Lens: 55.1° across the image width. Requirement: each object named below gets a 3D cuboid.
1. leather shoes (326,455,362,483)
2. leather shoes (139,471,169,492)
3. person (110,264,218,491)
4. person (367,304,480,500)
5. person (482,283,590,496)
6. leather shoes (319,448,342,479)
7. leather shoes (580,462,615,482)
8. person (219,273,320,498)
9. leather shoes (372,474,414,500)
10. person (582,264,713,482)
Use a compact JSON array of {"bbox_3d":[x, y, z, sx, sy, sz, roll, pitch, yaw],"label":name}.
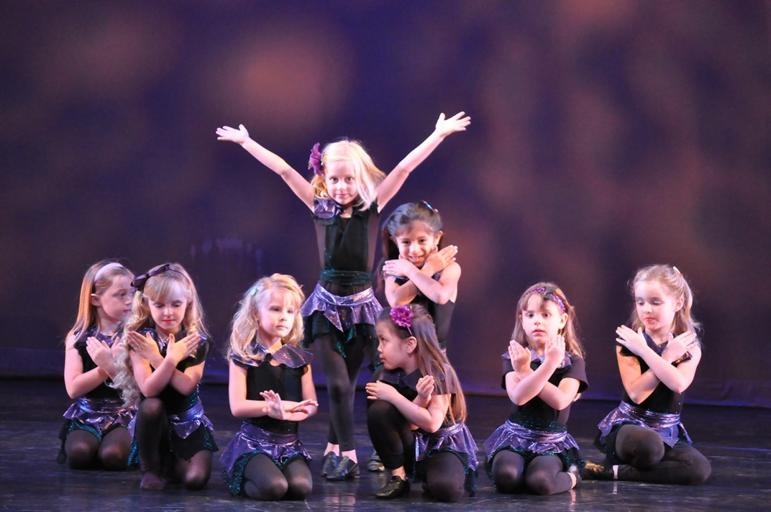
[{"bbox_3d":[-0.229,1.111,3.851,0.163,0.117,0.091,0,-7,-3],"label":"leather shoes"},{"bbox_3d":[-1.117,1.106,3.616,0.142,0.084,0.107,7,-10,-42],"label":"leather shoes"},{"bbox_3d":[-1.134,0.603,3.792,0.549,1.125,0.323,0,-7,-5],"label":"person"},{"bbox_3d":[0.174,0.705,3.610,0.496,0.950,0.260,-1,-7,10],"label":"person"},{"bbox_3d":[0.761,0.656,3.748,0.510,1.063,0.423,-1,-7,7],"label":"person"},{"bbox_3d":[-0.288,1.100,3.883,0.095,0.116,0.278,-1,-13,-2],"label":"leather shoes"},{"bbox_3d":[1.111,1.137,3.862,0.113,0.044,0.111,1,-3,4],"label":"leather shoes"},{"bbox_3d":[-0.567,0.630,3.626,0.450,1.085,0.337,1,-7,-12],"label":"person"},{"bbox_3d":[0.041,1.138,3.584,0.079,0.073,0.180,-9,-13,38],"label":"leather shoes"},{"bbox_3d":[1.402,0.624,3.982,0.621,1.154,0.345,-2,-7,17],"label":"person"}]
